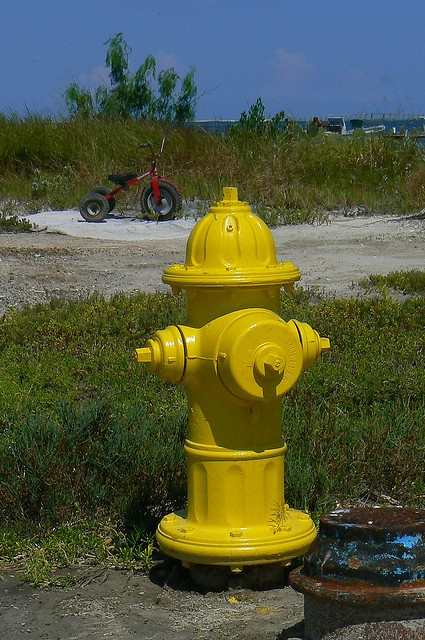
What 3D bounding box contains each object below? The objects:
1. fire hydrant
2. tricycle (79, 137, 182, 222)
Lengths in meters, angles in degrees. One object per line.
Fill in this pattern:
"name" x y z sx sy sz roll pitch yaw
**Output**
"fire hydrant" 0.089 0.308 5.163 0.690 1.755 0.727 -2 5 1
"tricycle" -1.098 -1.891 15.937 1.197 1.268 0.971 4 18 7
